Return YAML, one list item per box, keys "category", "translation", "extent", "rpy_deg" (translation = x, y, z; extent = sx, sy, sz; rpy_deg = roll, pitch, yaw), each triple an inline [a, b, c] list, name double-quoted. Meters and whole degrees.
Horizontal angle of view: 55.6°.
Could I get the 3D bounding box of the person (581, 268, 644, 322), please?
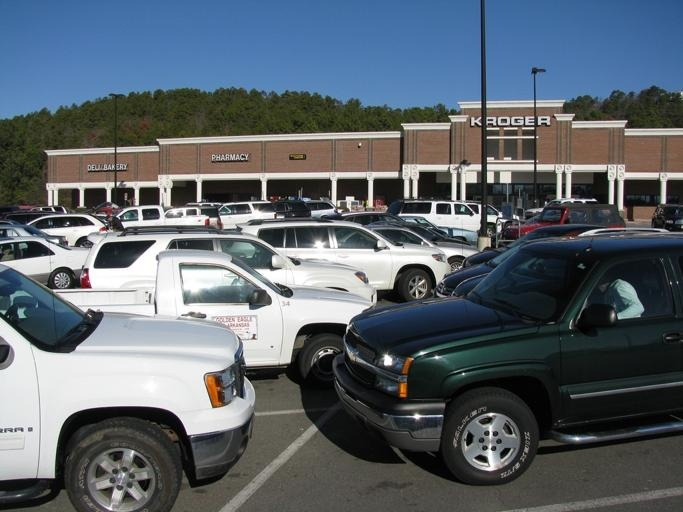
- category: "person"
  translation: [2.861, 0.443, 6.953]
  extent: [0.417, 0.668, 0.700]
  rpy_deg: [2, -10, -2]
